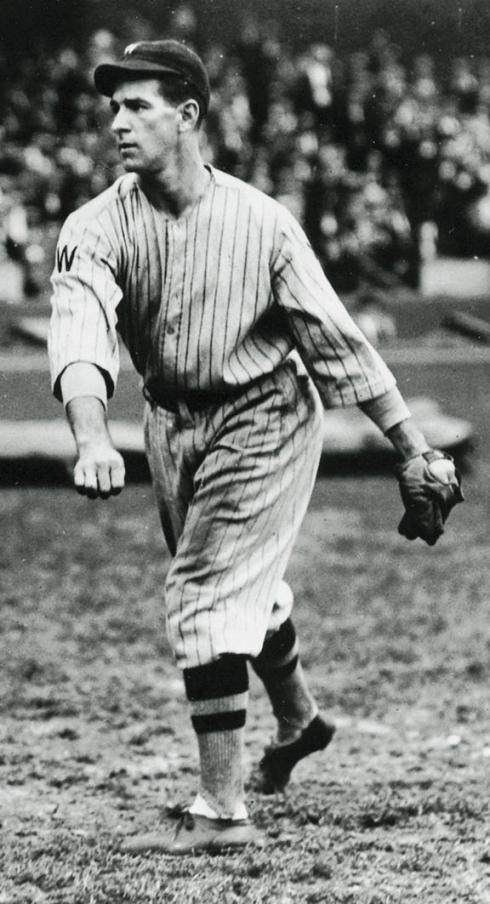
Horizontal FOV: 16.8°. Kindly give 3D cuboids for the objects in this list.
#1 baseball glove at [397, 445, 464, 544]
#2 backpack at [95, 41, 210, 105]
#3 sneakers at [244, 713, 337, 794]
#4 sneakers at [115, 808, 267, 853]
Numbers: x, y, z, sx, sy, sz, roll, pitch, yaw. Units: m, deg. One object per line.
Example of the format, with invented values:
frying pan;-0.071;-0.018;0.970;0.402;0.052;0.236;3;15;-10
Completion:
baseball glove;0.474;0.083;4.127;0.115;0.205;0.132;-28;31;-19
backpack;-0.221;-0.980;4.119;0.206;0.129;0.170;22;-17;-15
sneakers;0.124;0.834;4.522;0.223;0.062;0.124;-44;11;9
sneakers;-0.137;0.975;4.267;0.373;0.186;0.143;-1;-7;5
